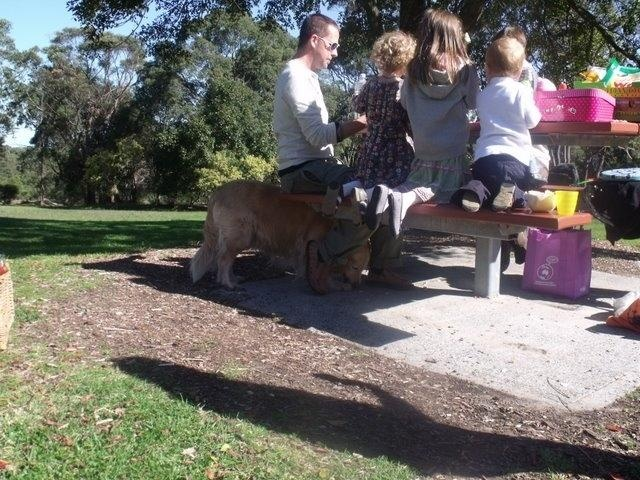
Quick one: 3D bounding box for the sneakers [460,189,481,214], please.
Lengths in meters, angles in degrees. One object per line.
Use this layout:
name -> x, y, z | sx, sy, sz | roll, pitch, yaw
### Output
sneakers -> 1.157, -0.289, 3.846 | 0.137, 0.127, 0.168 | 10, -4, 45

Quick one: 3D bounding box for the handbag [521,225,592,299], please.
handbag -> 2.401, 0.244, 5.184 | 0.758, 0.906, 0.519 | 2, 5, 37

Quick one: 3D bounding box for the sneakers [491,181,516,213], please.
sneakers -> 1.407, -0.314, 3.851 | 0.114, 0.262, 0.110 | 22, 11, 25

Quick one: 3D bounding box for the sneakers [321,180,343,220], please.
sneakers -> 0.096, -0.366, 4.666 | 0.142, 0.329, 0.137 | 15, -5, 18

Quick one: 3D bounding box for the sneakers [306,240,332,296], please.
sneakers -> -0.013, 0.276, 5.068 | 0.223, 0.534, 0.233 | -2, 8, 41

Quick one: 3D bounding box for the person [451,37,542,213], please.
person -> 1.467, -0.938, 3.995 | 0.541, 1.389, 0.828 | 10, 15, 31

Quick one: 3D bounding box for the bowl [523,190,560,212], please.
bowl -> 1.692, -0.276, 3.773 | 0.178, 0.126, 0.174 | 2, 2, 0

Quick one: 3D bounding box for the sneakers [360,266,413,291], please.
sneakers -> 0.729, 0.415, 5.487 | 0.535, 0.241, 0.199 | 3, 7, 21

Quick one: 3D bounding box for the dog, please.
dog -> -0.481, -0.061, 5.498 | 2.000, 1.079, 0.521 | -2, -2, -27

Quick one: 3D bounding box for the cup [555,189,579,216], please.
cup -> 1.876, -0.281, 3.883 | 0.194, 0.193, 0.162 | 0, 4, -25
